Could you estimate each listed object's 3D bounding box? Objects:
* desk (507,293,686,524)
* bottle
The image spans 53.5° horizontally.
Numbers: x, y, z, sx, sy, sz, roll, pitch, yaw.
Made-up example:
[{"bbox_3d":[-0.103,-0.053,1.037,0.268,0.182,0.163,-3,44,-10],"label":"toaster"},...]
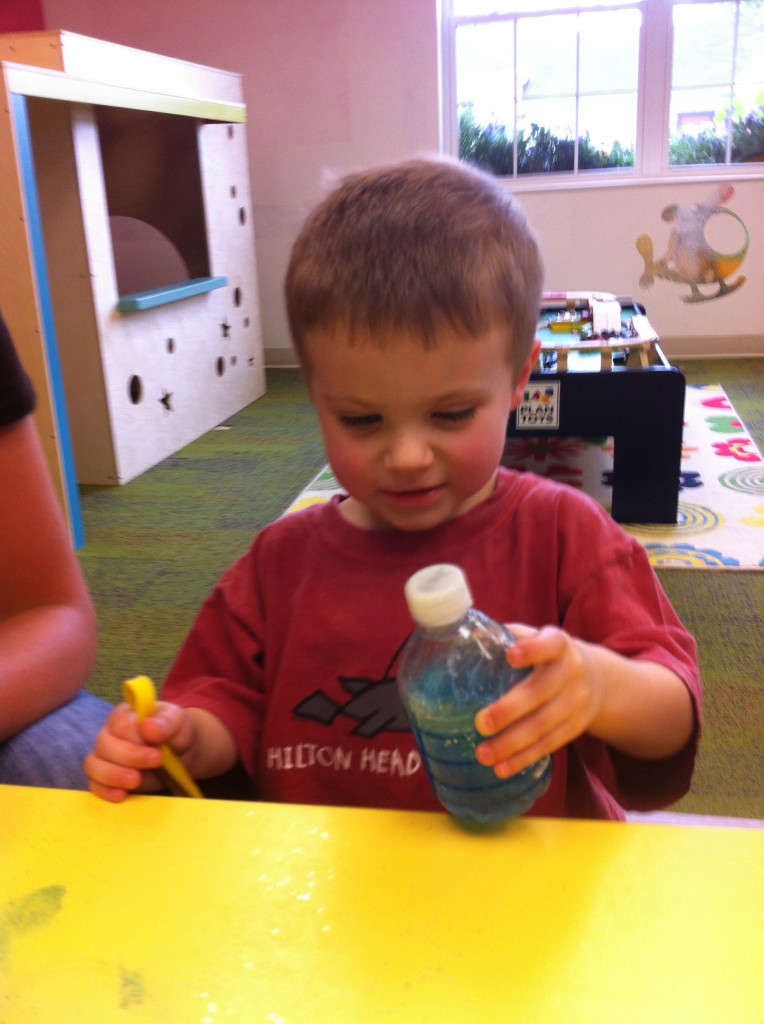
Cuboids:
[{"bbox_3d":[0.606,-0.269,2.096,0.544,0.359,0.823,-1,22,0],"label":"desk"},{"bbox_3d":[0.049,0.089,0.362,0.079,0.137,0.069,-5,11,-3],"label":"bottle"}]
